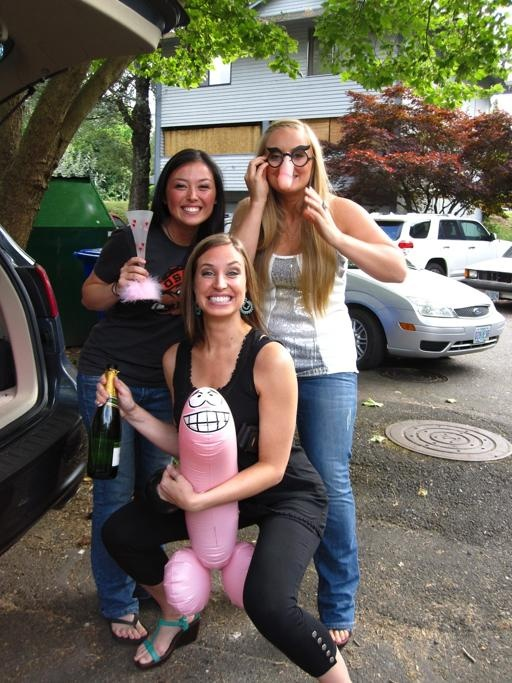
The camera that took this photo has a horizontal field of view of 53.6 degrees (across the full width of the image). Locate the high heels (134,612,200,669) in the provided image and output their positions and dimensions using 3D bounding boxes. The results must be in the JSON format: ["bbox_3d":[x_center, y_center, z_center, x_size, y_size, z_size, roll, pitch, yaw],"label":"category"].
[{"bbox_3d":[-0.297,1.067,1.878,0.104,0.107,0.273,1,5,43],"label":"high heels"}]

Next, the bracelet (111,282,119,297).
[{"bbox_3d":[-0.504,-0.185,1.818,0.039,0.036,0.054,3,-10,-31],"label":"bracelet"}]
